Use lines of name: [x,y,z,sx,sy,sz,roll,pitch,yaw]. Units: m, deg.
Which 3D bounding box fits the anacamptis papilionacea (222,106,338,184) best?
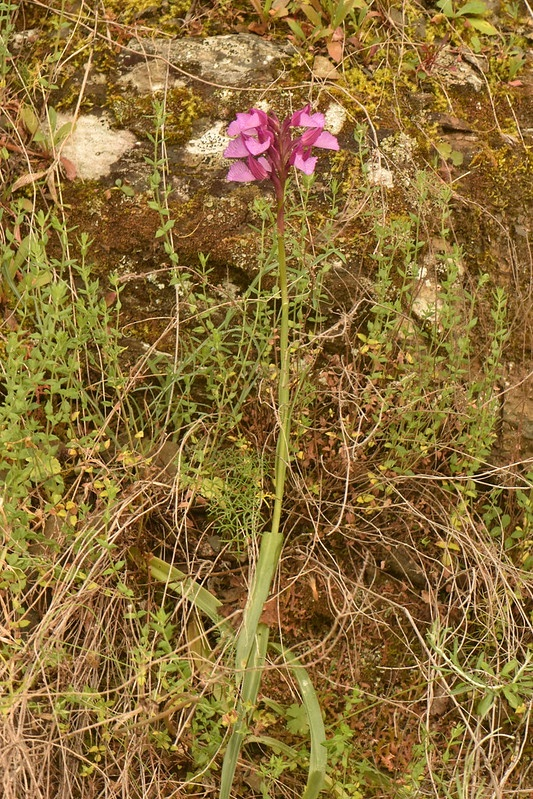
anacamptis papilionacea: [0.026,-0.550,1.634,0.205,0.133,0.192,22,53,5]
